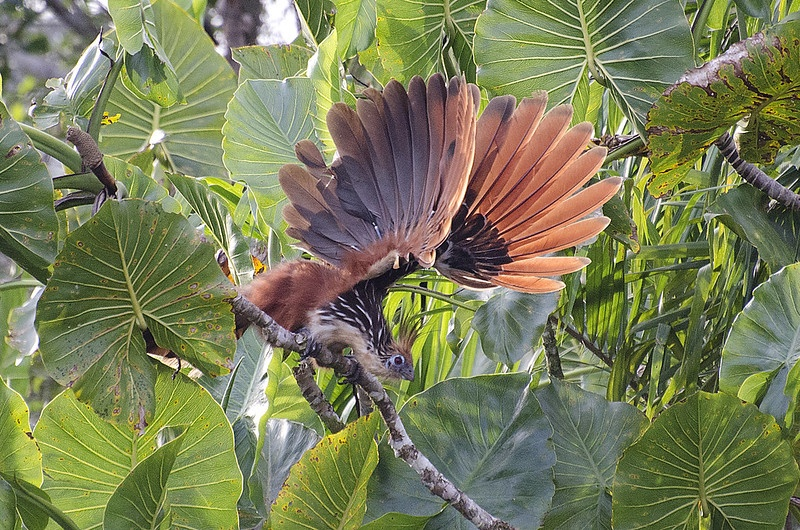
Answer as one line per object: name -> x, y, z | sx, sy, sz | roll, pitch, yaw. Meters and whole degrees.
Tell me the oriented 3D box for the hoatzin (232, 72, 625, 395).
hoatzin -> 0.112, -0.075, 1.609 | 0.353, 0.655, 0.735 | -6, 23, -18
